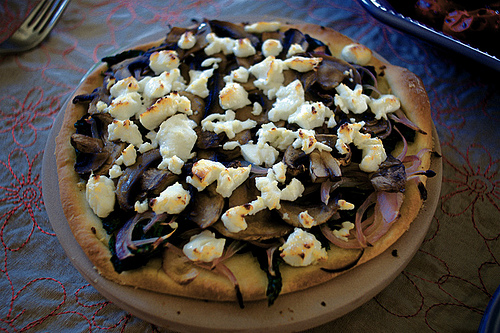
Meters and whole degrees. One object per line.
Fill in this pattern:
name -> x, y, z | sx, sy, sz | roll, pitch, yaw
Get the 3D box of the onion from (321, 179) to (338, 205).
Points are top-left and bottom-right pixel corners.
onion -> 0.408, 0.133, 2.364 | 0.070, 0.038, 0.137 | 16, 51, 2

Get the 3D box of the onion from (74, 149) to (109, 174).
onion -> -0.895, -0.013, 2.574 | 0.170, 0.043, 0.134 | -17, 41, -2

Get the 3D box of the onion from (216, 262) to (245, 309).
onion -> -0.100, 0.595, 2.380 | 0.089, 0.077, 0.294 | -15, 70, -17

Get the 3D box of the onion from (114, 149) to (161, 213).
onion -> -0.630, 0.080, 2.523 | 0.202, 0.065, 0.332 | 13, 79, 16

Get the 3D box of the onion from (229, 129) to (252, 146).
onion -> -0.043, -0.167, 2.550 | 0.089, 0.027, 0.086 | -9, 62, 4

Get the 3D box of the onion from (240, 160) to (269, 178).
onion -> 0.017, 0.012, 2.424 | 0.128, 0.032, 0.075 | 17, 41, 7
